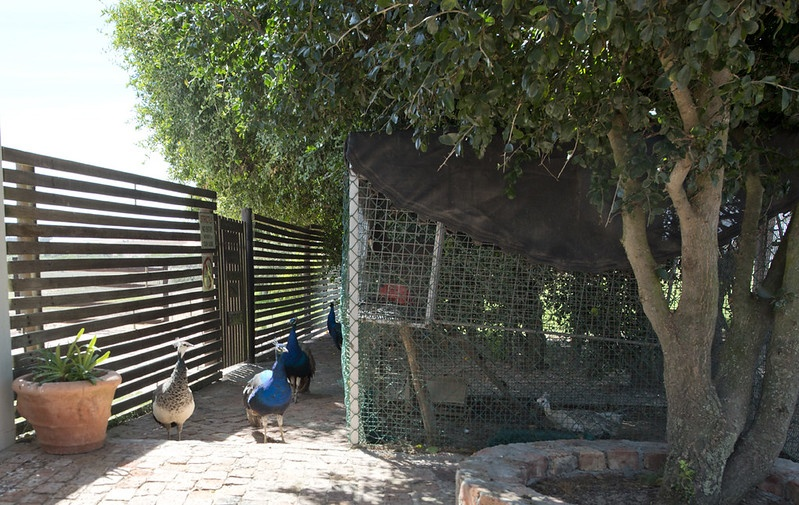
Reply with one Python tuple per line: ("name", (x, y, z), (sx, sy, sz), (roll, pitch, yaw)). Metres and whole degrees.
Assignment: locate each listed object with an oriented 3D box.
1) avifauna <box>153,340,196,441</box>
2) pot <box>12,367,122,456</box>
("avifauna", (-2.516, 1.557, 6.765), (0.414, 0.844, 0.635), (-1, 0, -21))
("pot", (-3.307, 1.552, 6.114), (0.792, 0.590, 0.814), (3, 0, 0))
